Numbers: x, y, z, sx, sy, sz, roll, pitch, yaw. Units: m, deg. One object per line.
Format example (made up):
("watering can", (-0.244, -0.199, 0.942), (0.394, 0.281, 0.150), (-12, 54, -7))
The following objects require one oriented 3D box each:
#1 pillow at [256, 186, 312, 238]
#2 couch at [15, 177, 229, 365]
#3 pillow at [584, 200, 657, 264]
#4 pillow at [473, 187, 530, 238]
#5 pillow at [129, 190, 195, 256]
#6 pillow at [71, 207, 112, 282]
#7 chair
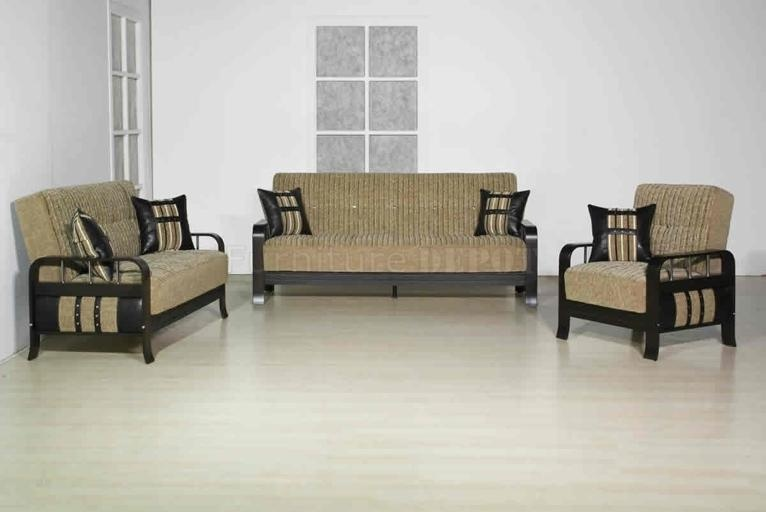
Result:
("pillow", (-1.014, -0.453, 6.490), (0.529, 0.524, 0.165), (-8, -9, -43))
("couch", (-2.128, 0.040, 5.394), (1.129, 1.176, 1.696), (2, 9, 8))
("pillow", (2.028, -0.183, 5.329), (0.531, 0.496, 0.149), (0, 3, 11))
("pillow", (1.208, -0.437, 6.468), (0.489, 0.500, 0.181), (4, -13, 20))
("pillow", (-1.996, -0.285, 5.694), (0.160, 0.520, 0.532), (-17, -5, 42))
("pillow", (-2.251, -0.026, 4.937), (0.293, 0.569, 0.636), (-3, 1, -21))
("chair", (2.227, 0.068, 5.292), (0.979, 1.274, 1.181), (-5, 7, -23))
